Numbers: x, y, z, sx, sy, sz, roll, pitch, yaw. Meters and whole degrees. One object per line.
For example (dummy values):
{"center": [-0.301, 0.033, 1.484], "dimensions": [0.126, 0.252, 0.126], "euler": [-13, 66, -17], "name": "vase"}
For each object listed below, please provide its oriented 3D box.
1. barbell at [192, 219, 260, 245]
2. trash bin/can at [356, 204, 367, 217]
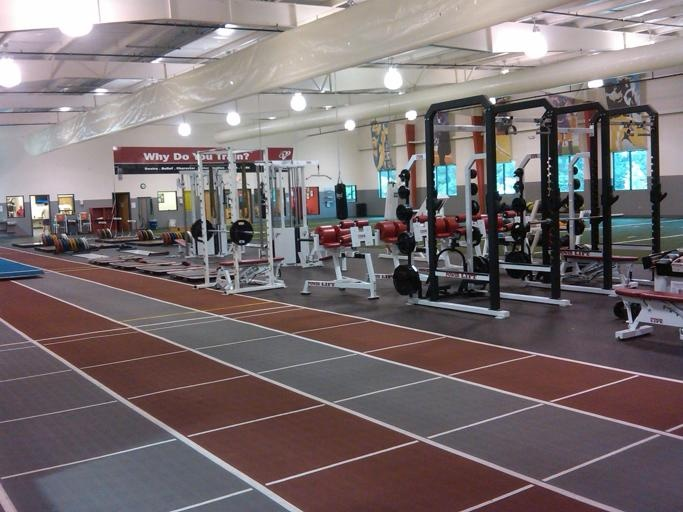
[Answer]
{"center": [-2.331, -0.465, 9.744], "dimensions": [0.891, 0.465, 2.573], "euler": [-5, 7, -20], "name": "barbell"}
{"center": [1.240, -2.766, 30.901], "dimensions": [0.673, 0.718, 0.584], "euler": [-2, 8, 2], "name": "trash bin/can"}
